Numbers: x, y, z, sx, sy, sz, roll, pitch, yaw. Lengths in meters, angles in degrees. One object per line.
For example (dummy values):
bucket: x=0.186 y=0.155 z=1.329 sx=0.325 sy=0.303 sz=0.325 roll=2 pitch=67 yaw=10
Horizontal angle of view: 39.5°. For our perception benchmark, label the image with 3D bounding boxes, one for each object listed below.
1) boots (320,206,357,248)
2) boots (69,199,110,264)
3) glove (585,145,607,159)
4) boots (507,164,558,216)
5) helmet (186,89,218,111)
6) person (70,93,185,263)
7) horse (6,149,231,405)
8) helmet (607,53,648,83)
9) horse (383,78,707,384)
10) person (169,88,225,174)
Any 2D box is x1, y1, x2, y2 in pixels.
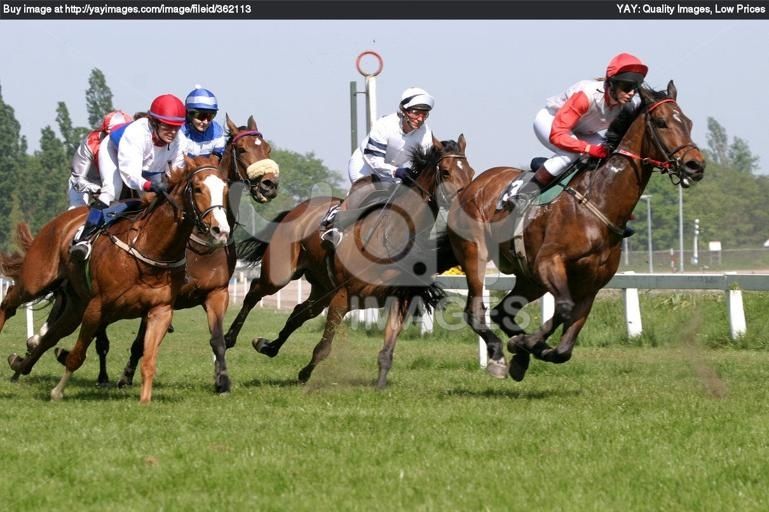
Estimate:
boots: x=-0.516 y=-0.316 z=13.116 sx=0.188 sy=0.513 sz=0.370 roll=32 pitch=-19 yaw=-34
boots: x=-3.284 y=-0.247 z=11.978 sx=0.289 sy=0.181 sz=0.795 roll=24 pitch=40 yaw=-6
glove: x=2.331 y=-1.157 z=11.853 sx=0.285 sy=0.155 sz=0.142 roll=-4 pitch=8 yaw=-28
boots: x=1.670 y=-0.693 z=12.160 sx=0.421 sy=0.582 sz=0.189 roll=-10 pitch=-53 yaw=44
helmet: x=-2.155 y=-1.838 z=12.555 sx=0.349 sy=0.257 sz=0.359 roll=-1 pitch=7 yaw=-11
person: x=-2.852 y=-0.914 z=12.376 sx=0.950 sy=2.039 sz=1.490 roll=18 pitch=5 yaw=-32
horse: x=-3.050 y=0.232 z=11.897 sx=3.067 sy=2.650 sz=1.075 roll=4 pitch=8 yaw=32
helmet: x=2.583 y=-2.017 z=11.501 sx=0.352 sy=0.300 sz=0.340 roll=0 pitch=7 yaw=3
horse: x=2.018 y=-0.231 z=12.082 sx=1.173 sy=3.389 sz=2.784 roll=-6 pitch=9 yaw=-43
person: x=-2.231 y=-1.505 z=12.932 sx=0.575 sy=1.003 sz=0.714 roll=10 pitch=12 yaw=31
